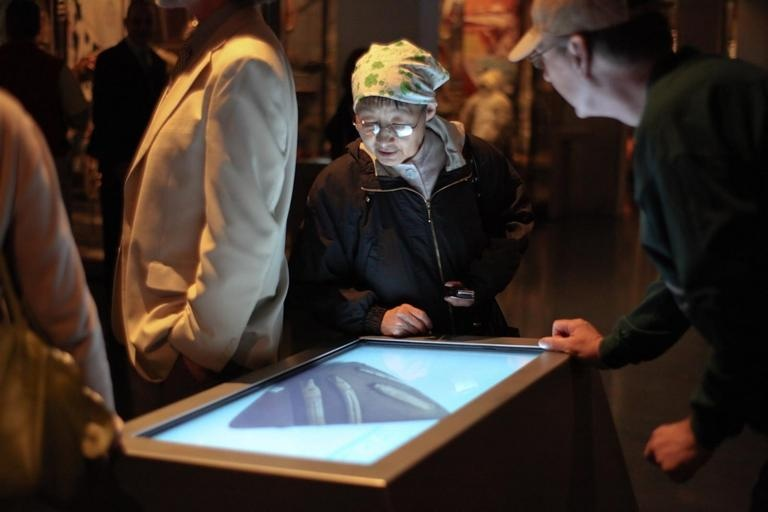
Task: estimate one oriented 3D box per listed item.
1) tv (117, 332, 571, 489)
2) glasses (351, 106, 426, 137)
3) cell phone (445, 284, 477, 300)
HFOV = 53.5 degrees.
[{"bbox_3d":[-0.062,0.357,1.878,0.654,0.084,0.989,8,16,37],"label":"tv"},{"bbox_3d":[0.013,-0.444,2.536,0.216,0.093,0.079,-1,12,2],"label":"glasses"},{"bbox_3d":[0.257,0.121,2.610,0.111,0.064,0.111,1,13,12],"label":"cell phone"}]
